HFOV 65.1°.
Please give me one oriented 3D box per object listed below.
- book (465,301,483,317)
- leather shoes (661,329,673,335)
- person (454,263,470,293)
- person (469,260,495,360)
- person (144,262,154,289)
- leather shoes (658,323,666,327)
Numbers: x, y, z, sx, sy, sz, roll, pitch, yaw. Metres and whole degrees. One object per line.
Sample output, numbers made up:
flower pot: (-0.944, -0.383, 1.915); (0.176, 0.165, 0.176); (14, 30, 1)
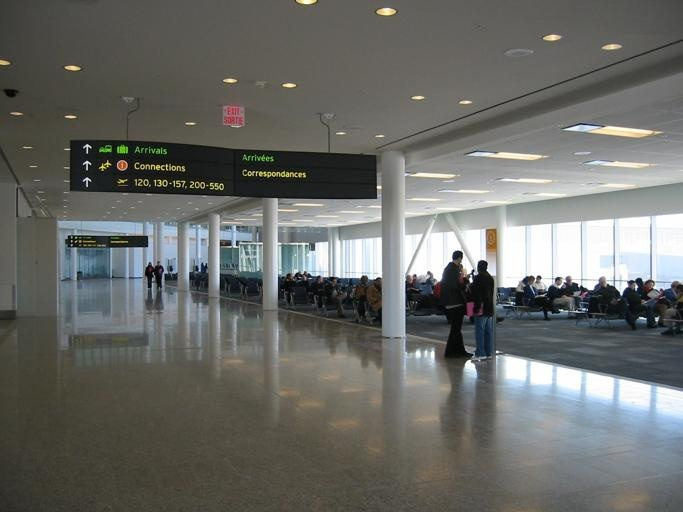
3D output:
book: (2.368, 0.947, 9.516); (0.248, 0.249, 0.242); (0, -1, -16)
leather shoes: (7.963, 1.842, 12.928); (0.366, 0.156, 0.127); (2, -6, -3)
person: (2.369, 0.442, 10.480); (0.231, 0.717, 0.218); (-9, 32, 15)
person: (2.542, 0.962, 9.615); (0.411, 1.758, 0.611); (0, -1, 13)
person: (-12.524, 1.225, 34.620); (0.458, 1.537, 2.593); (1, -2, -19)
leather shoes: (8.623, 1.826, 14.245); (0.141, 0.132, 0.409); (0, -2, 28)
